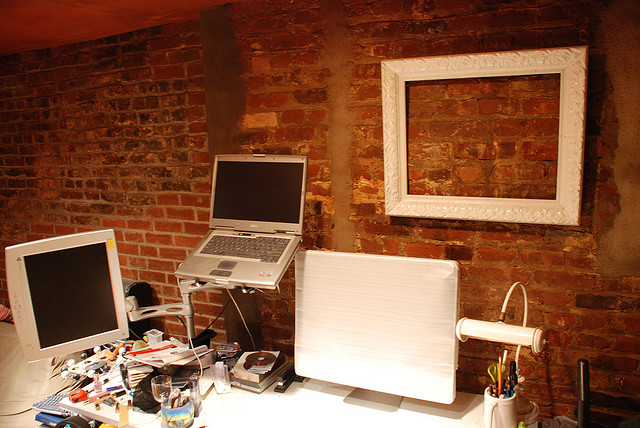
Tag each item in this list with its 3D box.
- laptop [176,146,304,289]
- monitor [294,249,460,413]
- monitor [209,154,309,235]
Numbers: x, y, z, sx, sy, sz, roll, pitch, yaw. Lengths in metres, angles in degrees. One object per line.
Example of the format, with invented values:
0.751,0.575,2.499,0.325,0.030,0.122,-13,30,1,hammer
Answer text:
-0.370,0.018,2.200,0.523,0.632,0.250,5,6,20,laptop
0.273,0.548,2.080,1.099,0.622,0.242,1,-1,18,monitor
-0.256,-0.119,2.482,0.678,0.317,0.461,3,0,13,monitor
